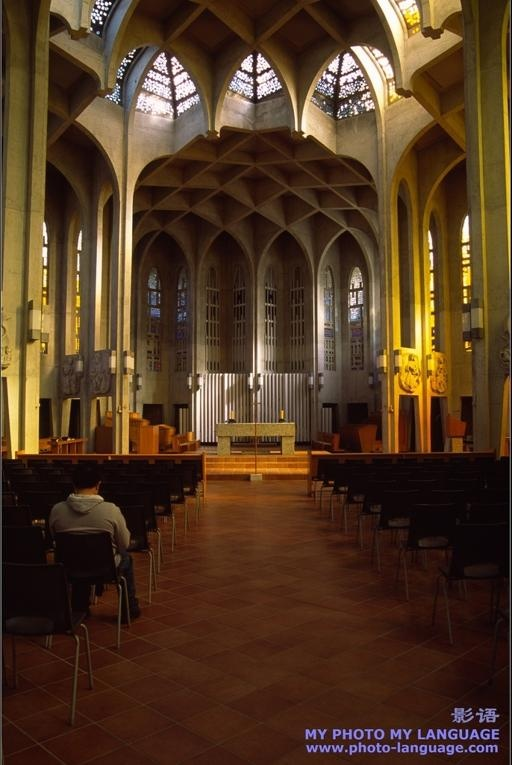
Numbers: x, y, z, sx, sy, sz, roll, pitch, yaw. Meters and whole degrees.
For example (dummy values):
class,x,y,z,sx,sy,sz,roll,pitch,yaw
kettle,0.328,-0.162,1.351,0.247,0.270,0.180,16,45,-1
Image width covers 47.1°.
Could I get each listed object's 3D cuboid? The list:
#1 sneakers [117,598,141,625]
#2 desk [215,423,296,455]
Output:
class,x,y,z,sx,sy,sz,roll,pitch,yaw
sneakers,-0.833,1.502,3.873,0.066,0.215,0.179,1,-1,13
desk,-0.030,1.608,16.876,2.158,0.957,0.923,-2,-4,1
